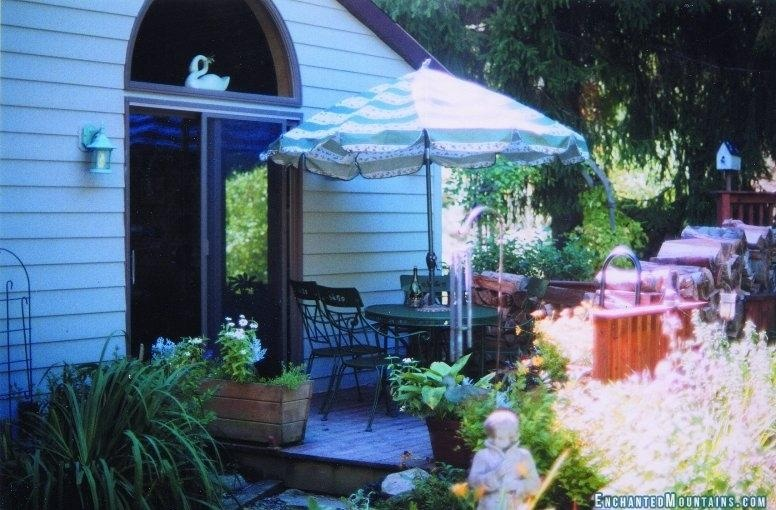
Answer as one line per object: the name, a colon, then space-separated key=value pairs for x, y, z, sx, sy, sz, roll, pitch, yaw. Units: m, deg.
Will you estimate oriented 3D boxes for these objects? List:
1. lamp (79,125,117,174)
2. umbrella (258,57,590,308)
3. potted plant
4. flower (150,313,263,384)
lamp: x=-2.541 y=-0.950 z=6.634 sx=0.214 sy=0.430 sz=0.276 roll=6 pitch=2 yaw=45
umbrella: x=0.416 y=-1.180 z=7.214 sx=2.369 sy=1.902 sz=2.526 roll=-2 pitch=8 yaw=2
potted plant: x=0.460 y=1.190 z=5.683 sx=0.696 sy=0.662 sz=0.648 roll=4 pitch=-11 yaw=-39
flower: x=-1.517 y=0.824 z=6.345 sx=0.848 sy=0.473 sz=0.632 roll=0 pitch=6 yaw=25
